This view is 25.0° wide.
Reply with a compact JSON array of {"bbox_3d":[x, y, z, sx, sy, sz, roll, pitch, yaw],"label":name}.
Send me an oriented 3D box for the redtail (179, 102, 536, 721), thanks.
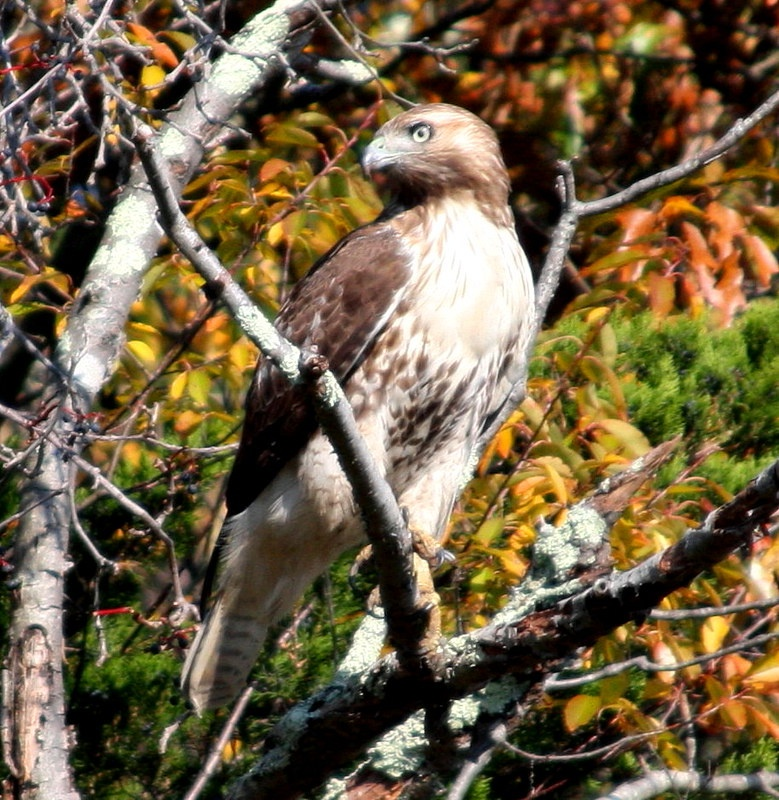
[{"bbox_3d":[-0.061,0.039,5.628,0.789,2.154,1.202,21,-35,-6],"label":"redtail"}]
